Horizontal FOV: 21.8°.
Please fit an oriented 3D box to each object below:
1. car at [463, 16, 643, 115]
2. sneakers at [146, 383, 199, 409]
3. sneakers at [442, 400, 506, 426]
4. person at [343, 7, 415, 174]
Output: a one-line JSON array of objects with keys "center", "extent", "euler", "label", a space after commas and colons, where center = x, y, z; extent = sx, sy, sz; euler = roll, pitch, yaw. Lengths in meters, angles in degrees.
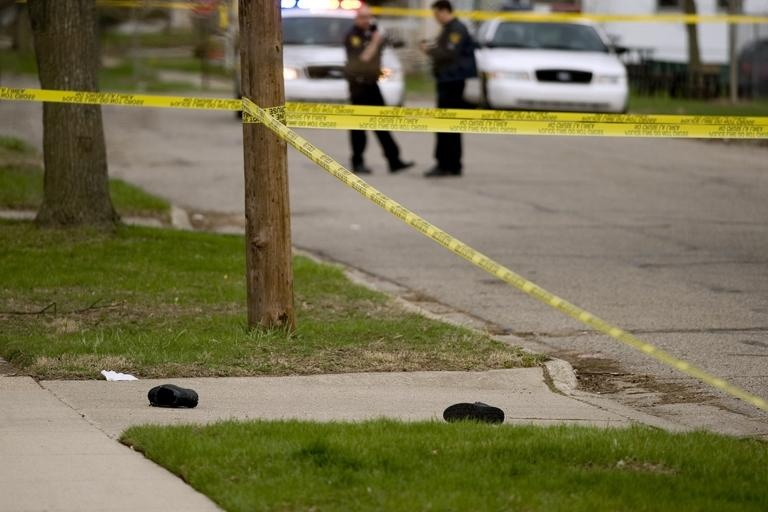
[{"center": [2.488, -2.848, 30.467], "extent": [2.329, 1.271, 3.922], "euler": [0, 1, -2], "label": "car"}, {"center": [-2.285, 1.511, 21.714], "extent": [0.376, 0.141, 0.290], "euler": [3, 0, 15], "label": "sneakers"}, {"center": [0.963, 1.692, 21.475], "extent": [0.468, 0.174, 0.273], "euler": [2, -3, 4], "label": "sneakers"}, {"center": [-0.153, -2.389, 29.104], "extent": [0.819, 2.447, 0.760], "euler": [-1, 10, -2], "label": "person"}]
